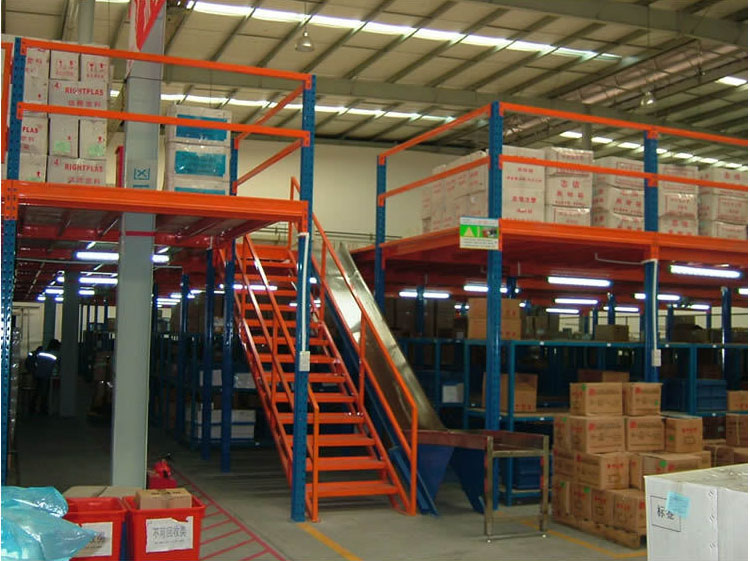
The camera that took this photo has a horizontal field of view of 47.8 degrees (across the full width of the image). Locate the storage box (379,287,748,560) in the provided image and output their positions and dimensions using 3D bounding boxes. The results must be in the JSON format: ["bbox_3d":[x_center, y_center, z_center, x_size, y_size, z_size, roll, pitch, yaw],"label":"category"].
[{"bbox_3d":[3.455,1.034,12.475,2.815,3.319,5.133,0,1,-28],"label":"storage box"}]

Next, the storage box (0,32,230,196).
[{"bbox_3d":[-3.494,-1.962,10.903,1.677,2.235,1.648,1,-2,-25],"label":"storage box"}]

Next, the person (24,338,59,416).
[{"bbox_3d":[-7.956,2.237,20.462,0.638,1.686,0.551,21,11,12],"label":"person"}]

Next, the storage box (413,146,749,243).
[{"bbox_3d":[3.432,-1.304,12.883,4.715,0.913,1.550,1,0,-12],"label":"storage box"}]
